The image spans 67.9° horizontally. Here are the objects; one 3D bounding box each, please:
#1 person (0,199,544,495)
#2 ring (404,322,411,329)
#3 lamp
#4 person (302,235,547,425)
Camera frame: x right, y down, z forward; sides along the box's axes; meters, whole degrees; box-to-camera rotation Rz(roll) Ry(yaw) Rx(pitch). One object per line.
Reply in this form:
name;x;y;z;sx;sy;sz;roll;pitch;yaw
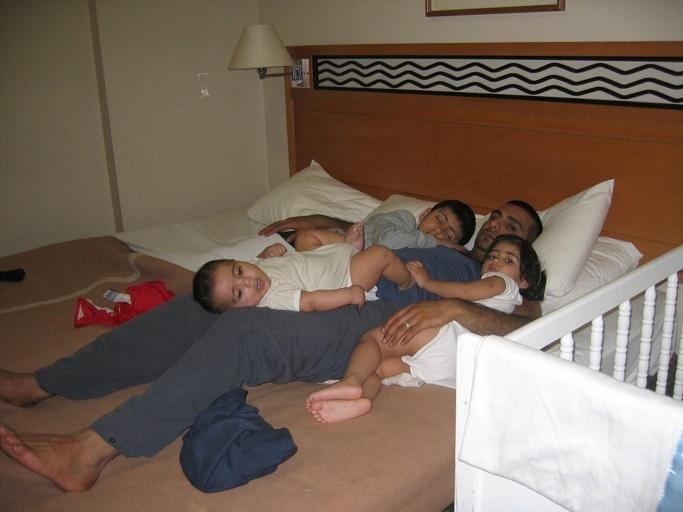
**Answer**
person;-0.381;0.349;1.879;1.333;0.298;0.807;-18;20;-33
ring;0.247;0.255;1.902;0.018;0.019;0.006;26;-7;11
lamp;-0.481;-1.235;3.097;0.400;0.326;0.410;14;26;30
person;0.333;0.249;1.979;1.028;0.462;0.434;-17;21;-14
